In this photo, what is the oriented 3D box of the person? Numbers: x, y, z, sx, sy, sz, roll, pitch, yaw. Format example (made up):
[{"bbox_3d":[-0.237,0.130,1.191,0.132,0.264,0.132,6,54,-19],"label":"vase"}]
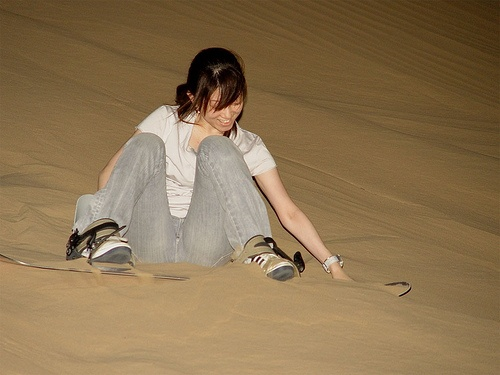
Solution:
[{"bbox_3d":[-0.173,-0.116,3.070,1.679,0.858,1.027,3,9,15],"label":"person"}]

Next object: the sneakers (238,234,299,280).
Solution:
[{"bbox_3d":[0.020,0.356,2.909,0.485,0.175,0.135,10,46,27],"label":"sneakers"}]

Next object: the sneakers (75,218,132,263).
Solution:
[{"bbox_3d":[-0.771,0.296,2.848,0.204,0.134,0.335,18,-39,-29],"label":"sneakers"}]
